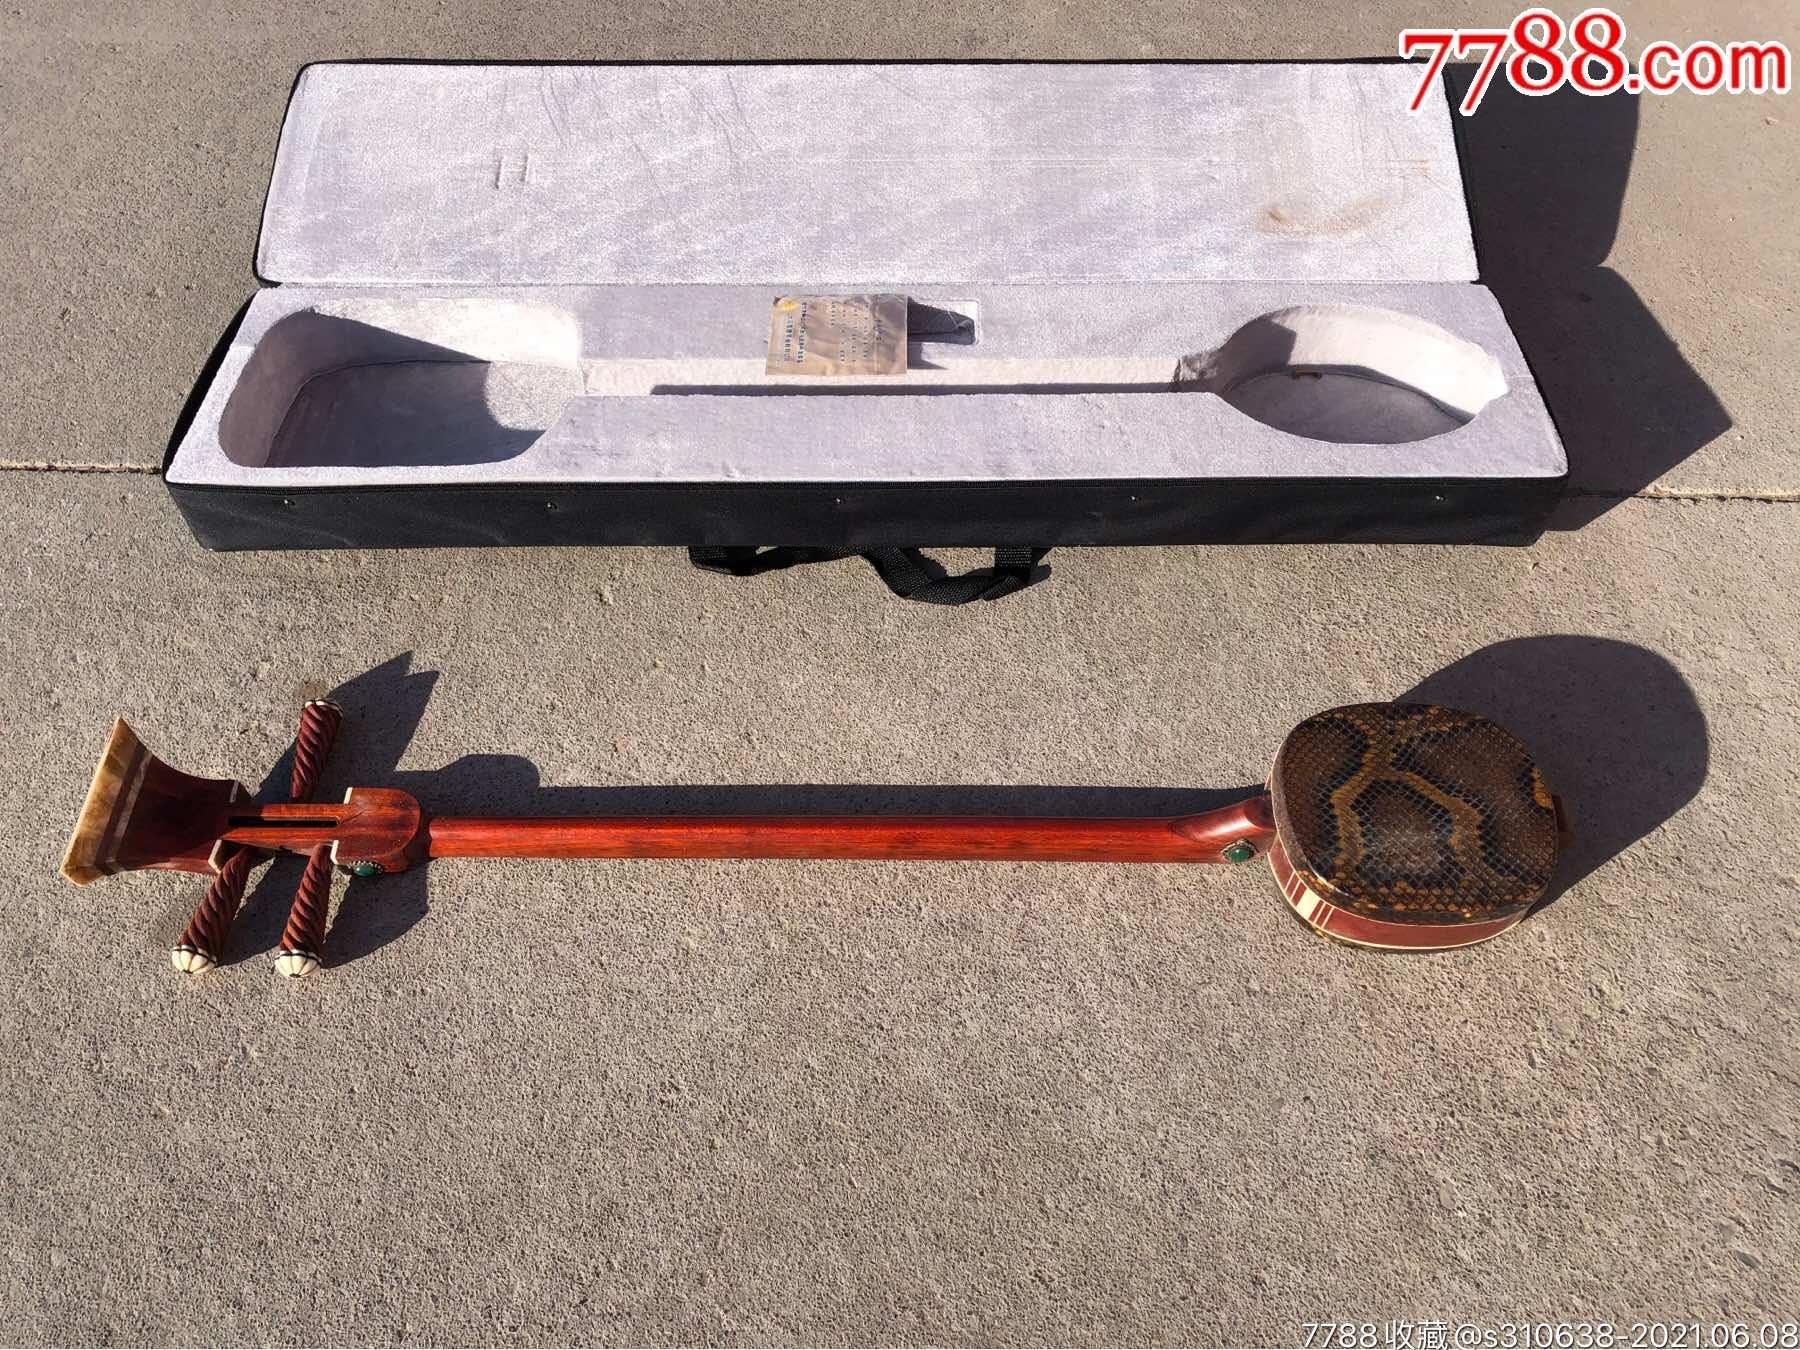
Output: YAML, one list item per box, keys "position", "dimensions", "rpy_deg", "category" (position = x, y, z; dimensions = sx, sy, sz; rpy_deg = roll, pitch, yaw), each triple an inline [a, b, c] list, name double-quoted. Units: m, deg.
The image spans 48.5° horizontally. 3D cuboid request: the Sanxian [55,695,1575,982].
- position: [-0.085, 0.393, 4.962]
  dimensions: [3.838, 0.349, 0.758]
  rpy_deg: [0, 56, -1]
  category: "Sanxian"
